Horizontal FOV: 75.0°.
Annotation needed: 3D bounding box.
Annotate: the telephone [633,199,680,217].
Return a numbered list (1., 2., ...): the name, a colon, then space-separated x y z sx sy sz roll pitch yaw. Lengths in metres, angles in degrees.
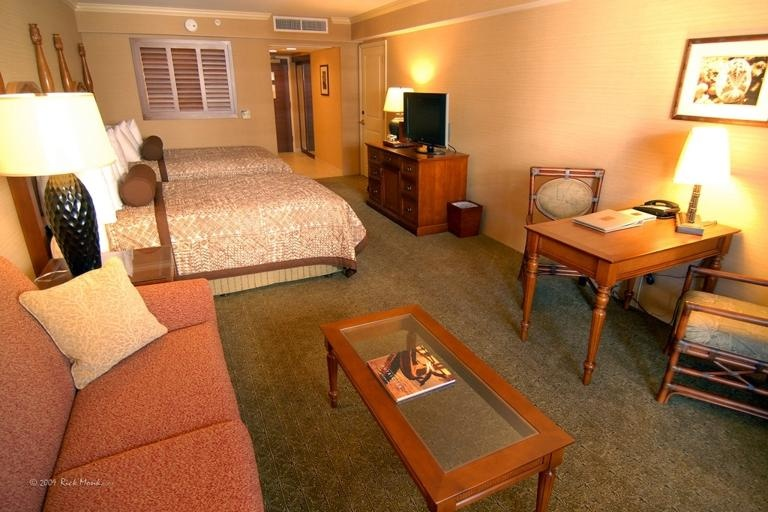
1. telephone: 2.211 -0.388 4.007 0.241 0.077 0.169 -10 17 -29

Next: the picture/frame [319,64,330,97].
1. picture/frame: -1.062 -3.197 9.010 0.043 0.566 0.555 -12 28 -25

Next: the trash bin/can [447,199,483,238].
1. trash bin/can: 0.973 -0.441 6.063 0.376 0.307 0.379 -3 15 -12

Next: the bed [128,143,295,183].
1. bed: -1.927 -1.149 5.952 1.134 0.244 0.876 -5 27 -18

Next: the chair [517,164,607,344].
1. chair: 1.577 -0.190 4.186 0.923 1.107 0.907 9 11 30

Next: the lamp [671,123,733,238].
1. lamp: 2.376 -0.577 3.716 0.322 0.752 0.507 21 33 40

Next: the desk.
1. desk: 1.810 0.533 4.422 2.219 1.340 1.133 -13 29 -23

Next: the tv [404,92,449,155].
1. tv: 0.454 -1.648 6.166 0.248 0.696 1.043 4 13 34

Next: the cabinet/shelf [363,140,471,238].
1. cabinet/shelf: 0.415 -0.970 6.623 0.816 0.871 1.494 -11 24 -23
